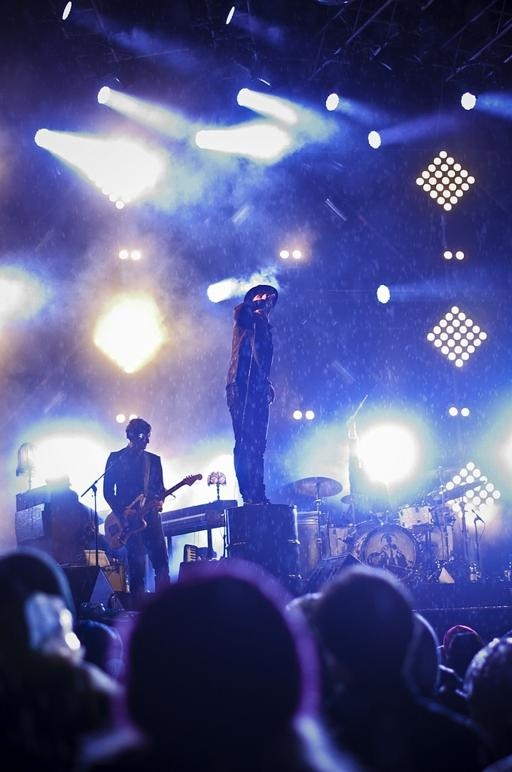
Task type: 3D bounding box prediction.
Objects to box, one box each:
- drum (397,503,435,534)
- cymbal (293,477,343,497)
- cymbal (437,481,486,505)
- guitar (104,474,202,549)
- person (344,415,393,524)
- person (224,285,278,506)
[{"bbox_3d":[1.963,1.627,8.489,0.311,0.232,0.325,-3,-10,-1],"label":"drum"},{"bbox_3d":[0.900,1.458,9.917,0.679,0.325,0.395,-4,-5,0],"label":"cymbal"},{"bbox_3d":[2.448,1.283,8.299,0.300,0.082,0.341,2,-26,-41],"label":"cymbal"},{"bbox_3d":[-1.096,1.304,7.033,0.850,0.574,0.896,-3,-5,-14],"label":"guitar"},{"bbox_3d":[1.595,1.111,9.680,0.529,1.337,1.500,-4,-5,11],"label":"person"},{"bbox_3d":[-0.019,0.051,6.089,0.485,1.903,0.487,-3,-5,4],"label":"person"}]
